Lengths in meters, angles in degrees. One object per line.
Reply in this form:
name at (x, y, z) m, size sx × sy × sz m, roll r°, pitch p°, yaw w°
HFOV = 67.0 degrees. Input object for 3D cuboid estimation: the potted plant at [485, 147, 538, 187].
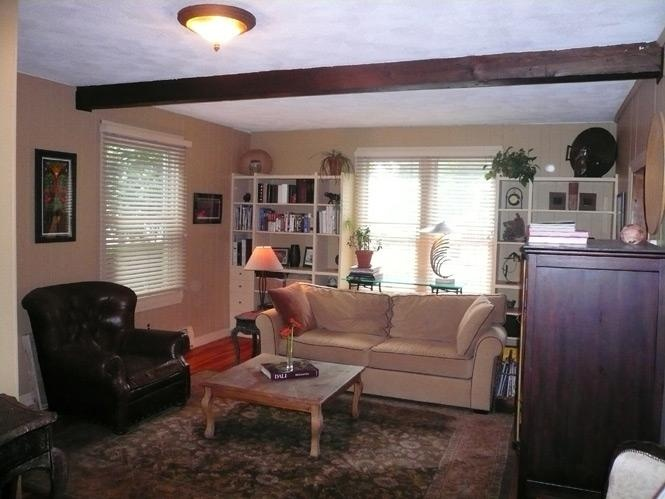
potted plant at (2.176, -1.034, 6.202) m, size 0.581 × 0.465 × 0.575 m, roll 4°, pitch 9°, yaw 16°

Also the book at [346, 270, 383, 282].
book at (0.411, 0.322, 6.408) m, size 0.451 × 0.160 × 0.241 m, roll 0°, pitch 9°, yaw -4°

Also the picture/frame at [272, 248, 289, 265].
picture/frame at (-0.693, 0.103, 6.676) m, size 0.226 × 0.234 × 0.015 m, roll 1°, pitch -2°, yaw 1°

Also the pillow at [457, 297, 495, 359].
pillow at (1.326, 0.711, 4.715) m, size 0.302 × 0.461 × 0.476 m, roll 3°, pitch 9°, yaw 14°

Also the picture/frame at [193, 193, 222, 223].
picture/frame at (-1.645, -0.532, 6.643) m, size 0.027 × 0.422 × 0.589 m, roll 5°, pitch 10°, yaw 25°

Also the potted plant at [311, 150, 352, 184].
potted plant at (0.024, -1.146, 6.963) m, size 0.435 × 0.330 × 0.441 m, roll 1°, pitch -2°, yaw -11°

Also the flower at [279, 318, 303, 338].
flower at (-0.355, 0.714, 4.424) m, size 0.257 × 0.103 × 0.305 m, roll -14°, pitch -4°, yaw -6°

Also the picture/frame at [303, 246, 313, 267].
picture/frame at (-0.350, 0.107, 7.115) m, size 0.022 × 0.327 × 0.275 m, roll 5°, pitch -4°, yaw -39°

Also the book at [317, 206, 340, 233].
book at (-0.044, -0.373, 6.975) m, size 0.304 × 0.416 × 0.422 m, roll 1°, pitch 0°, yaw 13°

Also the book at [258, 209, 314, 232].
book at (-0.654, -0.383, 6.982) m, size 0.813 × 0.307 × 0.189 m, roll 5°, pitch 10°, yaw 25°

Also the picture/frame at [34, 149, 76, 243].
picture/frame at (-2.635, -0.499, 4.759) m, size 0.112 × 0.867 × 0.484 m, roll 4°, pitch 9°, yaw 16°
